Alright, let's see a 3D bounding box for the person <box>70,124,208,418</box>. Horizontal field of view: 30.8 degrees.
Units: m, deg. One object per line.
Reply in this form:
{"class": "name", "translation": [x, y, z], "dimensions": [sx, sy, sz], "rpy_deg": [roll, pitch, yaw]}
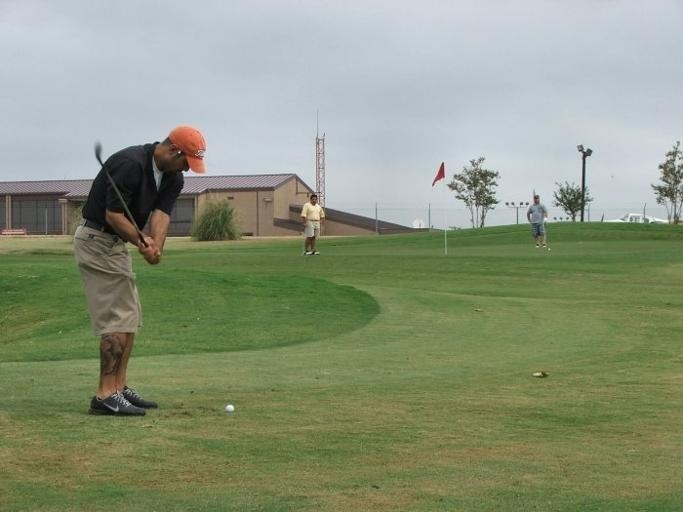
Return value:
{"class": "person", "translation": [-1.805, 0.096, 11.114], "dimensions": [1.341, 2.533, 0.930], "rpy_deg": [0, -4, -7]}

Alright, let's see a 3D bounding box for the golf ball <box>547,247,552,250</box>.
{"class": "golf ball", "translation": [5.046, -0.175, 30.558], "dimensions": [0.127, 0.061, 0.125], "rpy_deg": [0, 1, 0]}

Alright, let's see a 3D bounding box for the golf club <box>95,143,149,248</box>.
{"class": "golf club", "translation": [-1.904, -0.535, 10.785], "dimensions": [0.418, 0.889, 0.342], "rpy_deg": [0, 9, -12]}

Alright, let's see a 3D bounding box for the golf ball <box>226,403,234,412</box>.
{"class": "golf ball", "translation": [-0.978, 1.334, 10.861], "dimensions": [0.053, 0.033, 0.061], "rpy_deg": [6, -4, 8]}
